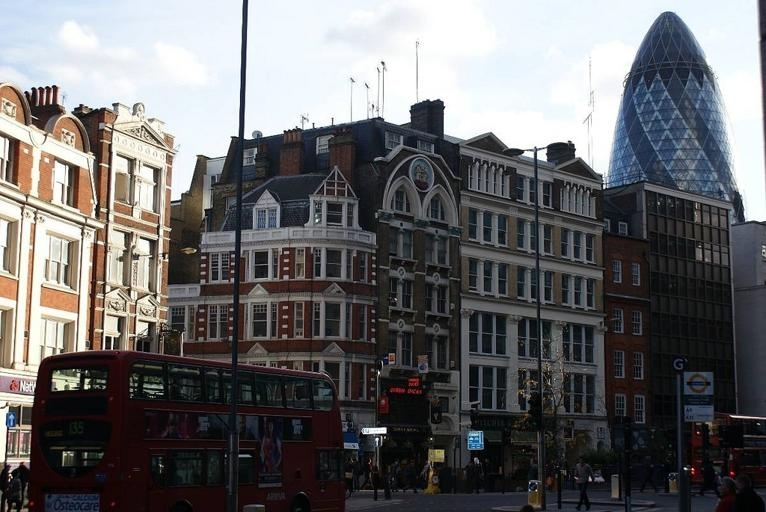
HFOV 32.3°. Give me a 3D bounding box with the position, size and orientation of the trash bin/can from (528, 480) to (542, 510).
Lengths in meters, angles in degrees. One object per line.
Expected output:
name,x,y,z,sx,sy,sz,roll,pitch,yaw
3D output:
trash bin/can,8.399,13.073,72.721,0.614,1.748,1.510,-1,-17,1
